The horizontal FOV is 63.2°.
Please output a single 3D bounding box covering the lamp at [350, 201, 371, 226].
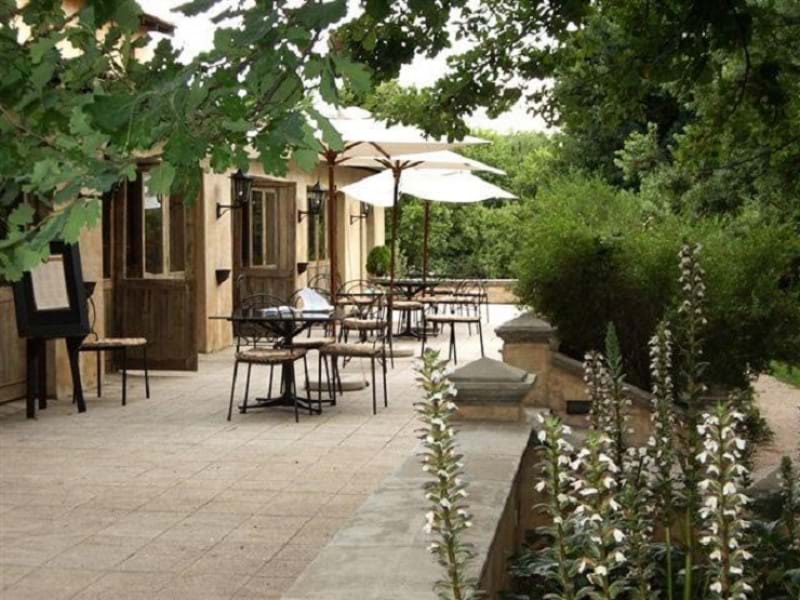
[{"bbox_3d":[-1.153,-2.592,19.393,0.749,0.762,0.471,-4,-2,16],"label":"lamp"}]
